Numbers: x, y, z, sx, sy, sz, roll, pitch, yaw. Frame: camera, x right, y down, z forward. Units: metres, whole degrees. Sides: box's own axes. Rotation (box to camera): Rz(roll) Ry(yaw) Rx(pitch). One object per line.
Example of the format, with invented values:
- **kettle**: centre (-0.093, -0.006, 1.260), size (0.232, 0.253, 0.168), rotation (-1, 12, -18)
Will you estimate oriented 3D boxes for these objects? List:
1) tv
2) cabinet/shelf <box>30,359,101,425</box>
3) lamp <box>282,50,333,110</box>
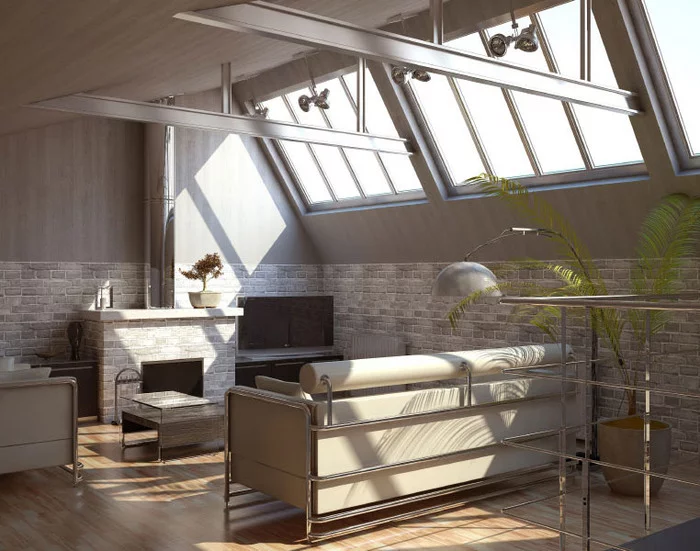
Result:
- **tv**: centre (-1.890, 1.432, 16.248), size (3.141, 1.584, 0.285), rotation (2, -8, -39)
- **cabinet/shelf**: centre (-6.425, 2.566, 12.608), size (0.627, 1.287, 1.543), rotation (-7, -8, 21)
- **lamp**: centre (-0.616, -4.535, 13.268), size (0.917, 1.580, 1.304), rotation (3, -5, -44)
